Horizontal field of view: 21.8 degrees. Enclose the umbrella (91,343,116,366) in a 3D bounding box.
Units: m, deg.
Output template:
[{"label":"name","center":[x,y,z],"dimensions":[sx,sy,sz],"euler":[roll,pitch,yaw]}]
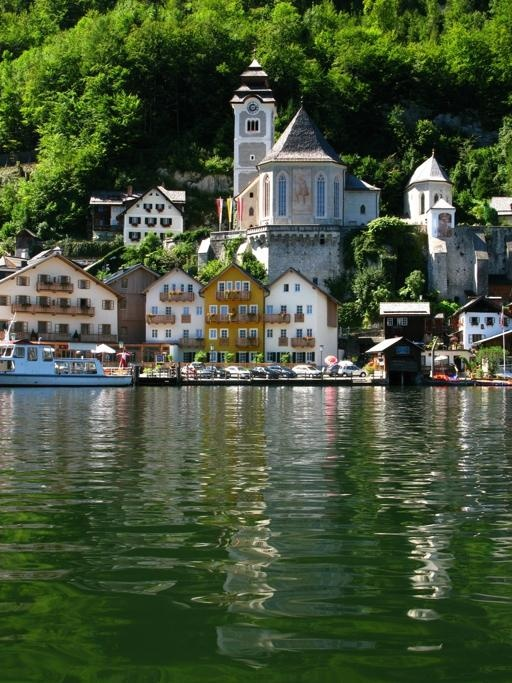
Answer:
[{"label":"umbrella","center":[-8.553,0.605,74.669],"dimensions":[1.330,1.206,1.442],"euler":[-3,-2,38]}]
